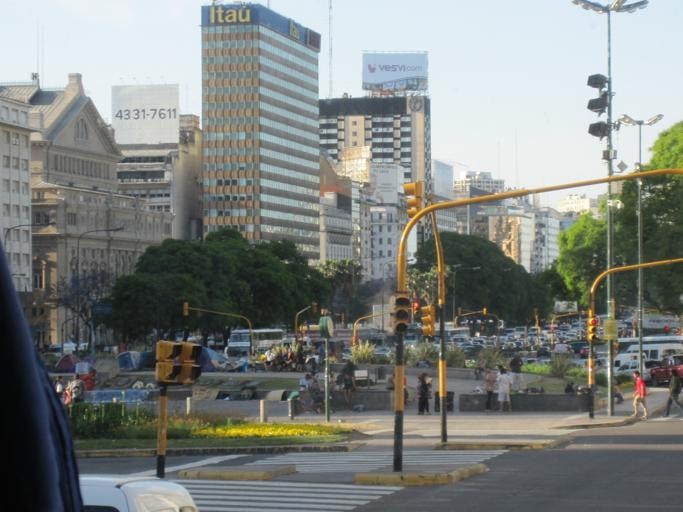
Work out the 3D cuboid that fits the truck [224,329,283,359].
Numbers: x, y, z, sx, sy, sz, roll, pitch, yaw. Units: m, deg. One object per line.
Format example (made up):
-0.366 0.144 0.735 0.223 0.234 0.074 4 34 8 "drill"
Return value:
-9.362 9.168 200.248 2.273 2.705 7.208 1 3 29 "truck"
